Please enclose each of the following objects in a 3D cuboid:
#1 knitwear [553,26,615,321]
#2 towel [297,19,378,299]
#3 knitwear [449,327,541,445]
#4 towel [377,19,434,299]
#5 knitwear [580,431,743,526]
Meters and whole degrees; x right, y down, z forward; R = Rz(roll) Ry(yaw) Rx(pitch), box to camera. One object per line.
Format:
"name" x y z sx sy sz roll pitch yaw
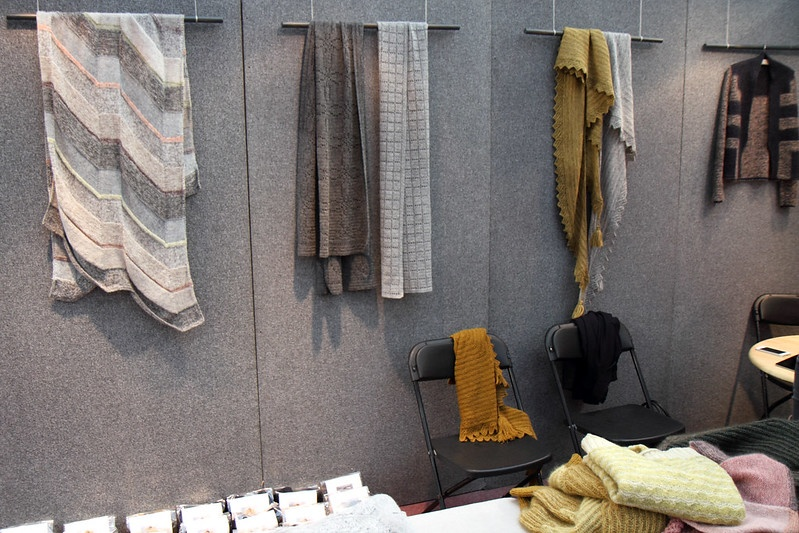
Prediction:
"knitwear" 1.106 -0.560 4.311 0.349 1.714 0.267 -3 13 7
"towel" -0.375 -0.605 4.021 0.450 1.490 0.267 -5 13 0
"knitwear" 0.517 0.650 4.097 0.528 0.577 0.504 -1 7 17
"towel" 0.029 -0.596 4.088 0.285 1.561 0.380 -1 14 15
"knitwear" 1.077 0.798 2.915 0.371 0.114 0.373 2 7 -24
